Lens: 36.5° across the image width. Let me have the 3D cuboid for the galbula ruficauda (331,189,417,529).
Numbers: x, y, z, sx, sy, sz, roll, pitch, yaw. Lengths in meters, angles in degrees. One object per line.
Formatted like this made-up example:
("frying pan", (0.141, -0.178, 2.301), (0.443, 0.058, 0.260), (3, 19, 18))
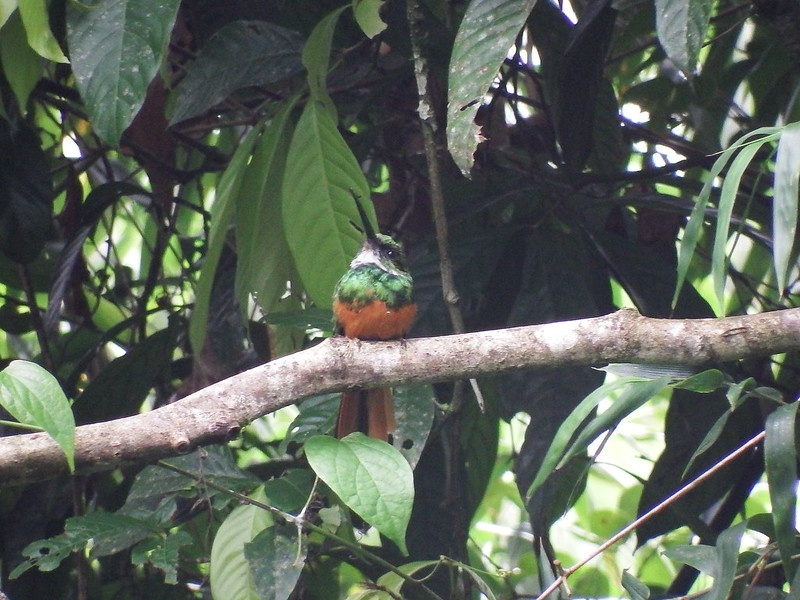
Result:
("galbula ruficauda", (-0.092, 0.110, 4.415), (0.253, 0.947, 0.383), (3, 19, 0))
